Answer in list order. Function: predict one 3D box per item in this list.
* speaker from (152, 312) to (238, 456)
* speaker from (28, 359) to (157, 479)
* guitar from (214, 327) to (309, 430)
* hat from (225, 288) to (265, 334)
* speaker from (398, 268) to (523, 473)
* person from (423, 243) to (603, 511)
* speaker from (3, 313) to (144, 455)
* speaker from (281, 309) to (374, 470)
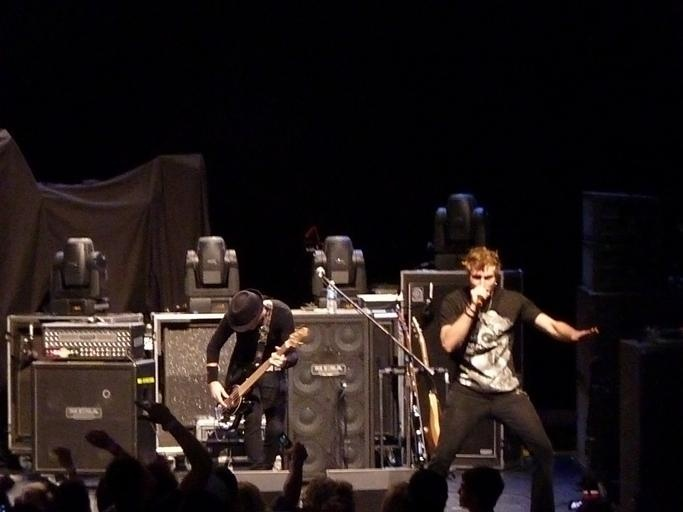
[{"bbox_3d":[-1.394,1.045,8.686,0.920,0.972,0.643,-3,2,-1],"label":"speaker"},{"bbox_3d":[-2.219,1.376,8.634,1.345,1.440,1.016,0,-3,3],"label":"speaker"},{"bbox_3d":[-0.612,0.966,7.431,0.689,0.241,1.915,44,-26,6],"label":"guitar"},{"bbox_3d":[-0.796,0.440,7.369,0.306,0.353,0.261,3,-6,-7],"label":"hat"},{"bbox_3d":[0.966,0.950,8.581,1.345,1.895,1.330,-11,13,-41],"label":"speaker"},{"bbox_3d":[1.151,0.886,6.696,0.972,1.911,0.467,1,-6,6],"label":"person"},{"bbox_3d":[-2.377,1.164,8.143,1.191,1.290,0.638,-1,-1,0],"label":"speaker"},{"bbox_3d":[-0.154,1.220,8.177,0.795,1.494,0.877,-1,1,-17],"label":"speaker"}]
